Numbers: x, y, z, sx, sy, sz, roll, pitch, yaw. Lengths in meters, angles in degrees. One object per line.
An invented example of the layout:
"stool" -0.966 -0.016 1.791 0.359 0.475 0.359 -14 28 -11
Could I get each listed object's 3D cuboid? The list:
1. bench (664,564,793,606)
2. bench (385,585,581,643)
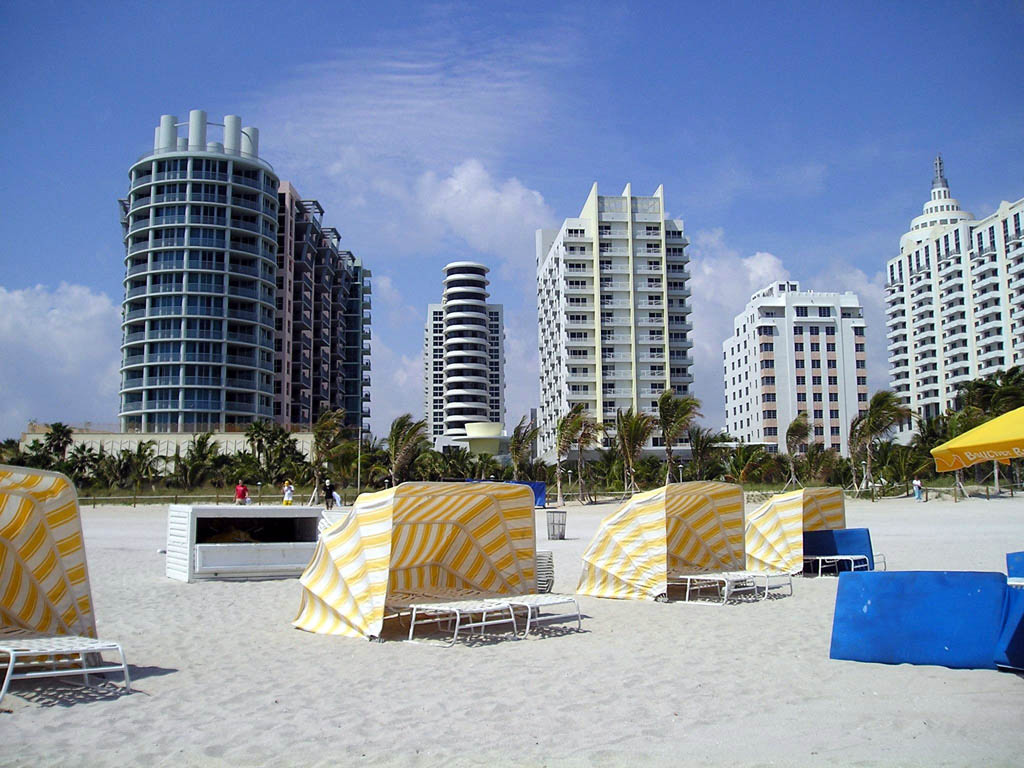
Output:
"bench" 4.006 3.510 17.748 2.030 0.568 3.290 0 -2 13
"bench" -0.228 3.382 14.738 2.948 0.590 2.280 1 -2 -20
